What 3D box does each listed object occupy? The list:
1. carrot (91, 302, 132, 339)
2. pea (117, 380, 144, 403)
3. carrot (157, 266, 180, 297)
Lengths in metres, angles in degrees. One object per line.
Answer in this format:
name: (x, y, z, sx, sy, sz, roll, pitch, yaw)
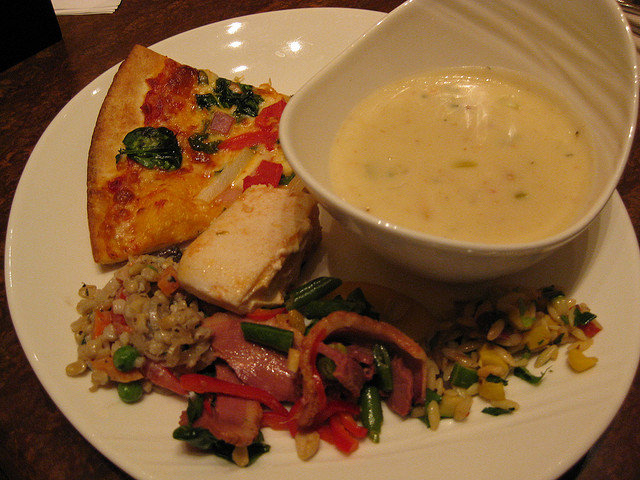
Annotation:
carrot: (-0.973, 0.366, 2.802, 0.190, 0.045, 0.177, -7, 65, 16)
pea: (-0.833, 0.679, 2.650, 0.102, 0.058, 0.096, -9, 66, -5)
carrot: (-0.706, 0.169, 2.791, 0.105, 0.078, 0.131, -32, 69, -14)
